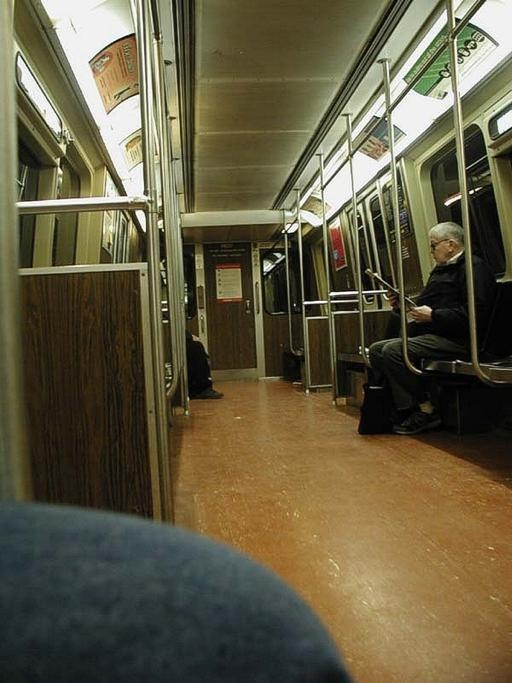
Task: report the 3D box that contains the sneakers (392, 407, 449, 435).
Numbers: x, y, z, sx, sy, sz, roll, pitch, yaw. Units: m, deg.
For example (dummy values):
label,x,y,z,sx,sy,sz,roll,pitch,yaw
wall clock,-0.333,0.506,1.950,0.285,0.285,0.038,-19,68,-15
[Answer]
label,x,y,z,sx,sy,sz,roll,pitch,yaw
sneakers,1.513,0.759,4.411,0.511,0.249,0.197,-11,-2,-5

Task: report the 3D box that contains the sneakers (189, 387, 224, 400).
label,x,y,z,sx,sy,sz,roll,pitch,yaw
sneakers,-0.835,0.905,8.016,0.639,0.301,0.226,-2,-1,7
